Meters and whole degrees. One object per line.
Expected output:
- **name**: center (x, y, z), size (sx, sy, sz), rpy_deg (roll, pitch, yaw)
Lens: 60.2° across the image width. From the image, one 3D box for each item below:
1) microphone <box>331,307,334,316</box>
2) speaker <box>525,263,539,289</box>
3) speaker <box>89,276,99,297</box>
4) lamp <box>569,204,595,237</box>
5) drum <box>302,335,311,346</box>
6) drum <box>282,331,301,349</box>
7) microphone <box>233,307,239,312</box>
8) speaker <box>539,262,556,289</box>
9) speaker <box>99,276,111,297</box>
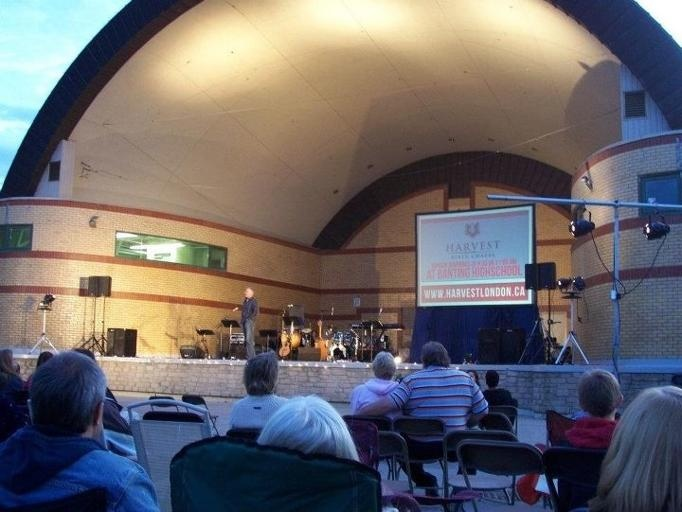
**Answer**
- **microphone**: center (-0.399, 2.633, 28.288), size (0.180, 0.383, 0.032), rpy_deg (-3, -10, 24)
- **speaker**: center (4.745, 0.485, 14.595), size (0.375, 0.646, 0.277), rpy_deg (-5, -11, 35)
- **speaker**: center (-8.105, 0.985, 19.272), size (0.370, 0.609, 0.124), rpy_deg (0, -9, 9)
- **lamp**: center (5.504, -0.844, 13.386), size (0.517, 0.815, 0.305), rpy_deg (-4, -21, 16)
- **drum**: center (-1.283, 3.159, 22.008), size (0.233, 0.393, 0.101), rpy_deg (2, -5, -4)
- **drum**: center (-1.860, 3.133, 21.761), size (0.588, 0.599, 0.609), rpy_deg (3, 4, -8)
- **microphone**: center (-4.246, 2.145, 23.701), size (0.145, 0.155, 0.151), rpy_deg (10, 5, -4)
- **speaker**: center (5.023, 0.478, 14.190), size (0.306, 0.611, 0.525), rpy_deg (3, -9, -16)
- **speaker**: center (-7.729, 0.972, 19.313), size (0.283, 0.655, 0.315), rpy_deg (1, -9, 1)
